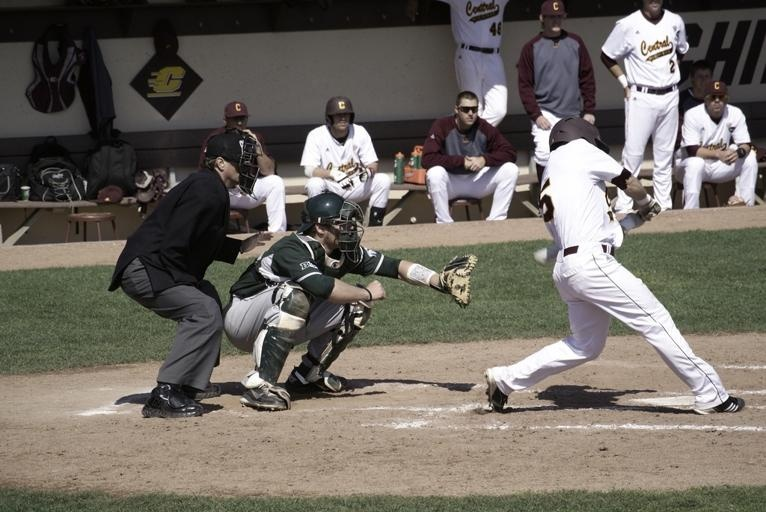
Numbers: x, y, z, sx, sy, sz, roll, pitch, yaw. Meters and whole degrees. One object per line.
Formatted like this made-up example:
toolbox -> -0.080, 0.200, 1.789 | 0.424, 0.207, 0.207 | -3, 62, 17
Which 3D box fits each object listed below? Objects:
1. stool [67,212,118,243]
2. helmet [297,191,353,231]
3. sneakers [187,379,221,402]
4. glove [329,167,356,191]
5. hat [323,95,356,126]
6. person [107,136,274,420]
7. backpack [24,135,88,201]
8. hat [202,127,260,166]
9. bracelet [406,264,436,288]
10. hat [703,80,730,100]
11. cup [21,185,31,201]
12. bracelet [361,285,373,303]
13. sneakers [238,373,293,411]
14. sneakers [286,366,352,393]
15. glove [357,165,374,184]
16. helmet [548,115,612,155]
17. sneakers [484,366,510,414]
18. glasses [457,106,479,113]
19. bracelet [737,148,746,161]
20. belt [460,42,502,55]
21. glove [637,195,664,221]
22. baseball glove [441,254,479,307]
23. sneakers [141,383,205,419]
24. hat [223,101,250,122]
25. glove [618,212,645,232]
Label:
stool -> -3.933, -0.467, 15.376 | 0.588, 0.349, 0.579 | 0, 0, -1
helmet -> -0.499, -0.401, 10.293 | 0.497, 0.339, 0.188 | -2, 8, -2
sneakers -> -1.655, 1.268, 10.550 | 0.348, 0.155, 0.114 | -13, 28, -34
glove -> -0.504, -0.976, 14.430 | 0.205, 0.081, 0.313 | -27, 64, -32
hat -> -0.543, -1.872, 14.596 | 0.358, 0.342, 0.401 | -4, 13, -16
person -> -1.750, 0.153, 10.232 | 1.322, 2.483, 0.672 | -4, 9, -15
backpack -> -4.474, -1.180, 15.518 | 0.714, 0.919, 0.334 | -2, -29, -18
hat -> -1.346, -1.056, 10.408 | 0.576, 0.302, 0.386 | -22, 14, -21
bracelet -> 0.358, 0.184, 10.461 | 0.230, 0.081, 0.176 | 11, 49, 4
hat -> 4.420, -2.224, 15.110 | 0.280, 0.203, 0.330 | 1, 8, 17
cup -> -4.810, -0.850, 15.343 | 0.144, 0.185, 0.227 | -5, 8, -17
bracelet -> -0.152, 0.334, 10.234 | 0.034, 0.123, 0.123 | -26, -17, -33
sneakers -> -1.056, 1.229, 10.301 | 0.543, 0.286, 0.221 | 4, 12, 20
sneakers -> -0.606, 1.208, 10.821 | 0.591, 0.262, 0.242 | -2, 15, 0
glove -> -0.214, -1.048, 14.677 | 0.153, 0.191, 0.226 | 0, 8, 16
helmet -> 1.781, -1.121, 10.289 | 0.449, 0.306, 0.356 | 12, 8, -5
sneakers -> 1.034, 1.206, 10.296 | 0.193, 0.439, 0.152 | 3, 1, 1
glasses -> 1.075, -1.856, 14.343 | 0.227, 0.083, 0.132 | -2, 8, -4
bracelet -> 4.739, -1.347, 15.013 | 0.107, 0.136, 0.107 | -16, -23, 34
belt -> 1.327, -2.872, 15.707 | 0.500, 0.160, 0.157 | -2, 8, -2
glove -> 2.370, -0.435, 10.239 | 0.116, 0.155, 0.252 | 46, -7, -33
baseball glove -> 0.727, 0.212, 10.412 | 0.316, 0.470, 0.190 | -16, -29, 23
sneakers -> -1.867, 1.281, 10.094 | 0.554, 0.271, 0.253 | 0, 7, 8
hat -> -1.912, -1.876, 14.658 | 0.250, 0.192, 0.336 | -3, 5, -23
glove -> 2.241, -0.325, 10.259 | 0.251, 0.173, 0.074 | -19, 5, -22
